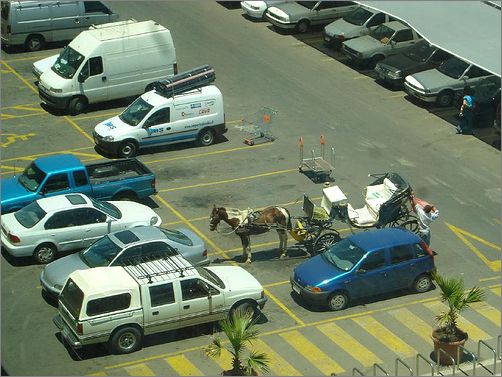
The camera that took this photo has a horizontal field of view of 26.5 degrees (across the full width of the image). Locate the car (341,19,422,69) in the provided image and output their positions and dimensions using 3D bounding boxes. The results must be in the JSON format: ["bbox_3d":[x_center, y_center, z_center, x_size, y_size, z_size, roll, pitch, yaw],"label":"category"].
[{"bbox_3d":[7.106,-7.486,57.037,4.090,1.410,2.053,-22,46,-12],"label":"car"}]

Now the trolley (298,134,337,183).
[{"bbox_3d":[2.955,-1.088,47.336,1.317,2.099,2.349,-12,36,-16],"label":"trolley"}]

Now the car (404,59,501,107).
[{"bbox_3d":[10.044,-5.175,53.184,4.309,1.521,2.056,-15,40,-16],"label":"car"}]

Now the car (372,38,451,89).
[{"bbox_3d":[8.235,-6.169,54.824,3.934,1.290,1.956,-22,41,-20],"label":"car"}]

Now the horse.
[{"bbox_3d":[0.053,1.680,41.436,3.393,2.297,0.996,-6,10,-15],"label":"horse"}]

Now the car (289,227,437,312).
[{"bbox_3d":[4.174,3.498,39.558,4.609,3.013,3.070,-8,24,-17],"label":"car"}]

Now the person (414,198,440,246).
[{"bbox_3d":[6.692,1.357,41.467,0.826,1.794,0.968,-4,16,-12],"label":"person"}]

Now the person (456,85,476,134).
[{"bbox_3d":[10.292,-3.760,50.492,0.787,2.153,1.186,10,33,10],"label":"person"}]

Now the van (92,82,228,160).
[{"bbox_3d":[-4.176,-3.225,48.889,6.253,2.589,2.781,-11,40,-16],"label":"van"}]

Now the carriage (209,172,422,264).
[{"bbox_3d":[3.029,1.884,41.891,8.323,3.496,3.182,-3,8,-24],"label":"carriage"}]

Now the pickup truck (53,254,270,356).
[{"bbox_3d":[-3.008,3.954,38.093,7.278,2.521,3.053,-14,32,-21],"label":"pickup truck"}]

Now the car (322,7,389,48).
[{"bbox_3d":[5.624,-8.736,59.065,3.145,2.335,3.083,-12,19,-16],"label":"car"}]
